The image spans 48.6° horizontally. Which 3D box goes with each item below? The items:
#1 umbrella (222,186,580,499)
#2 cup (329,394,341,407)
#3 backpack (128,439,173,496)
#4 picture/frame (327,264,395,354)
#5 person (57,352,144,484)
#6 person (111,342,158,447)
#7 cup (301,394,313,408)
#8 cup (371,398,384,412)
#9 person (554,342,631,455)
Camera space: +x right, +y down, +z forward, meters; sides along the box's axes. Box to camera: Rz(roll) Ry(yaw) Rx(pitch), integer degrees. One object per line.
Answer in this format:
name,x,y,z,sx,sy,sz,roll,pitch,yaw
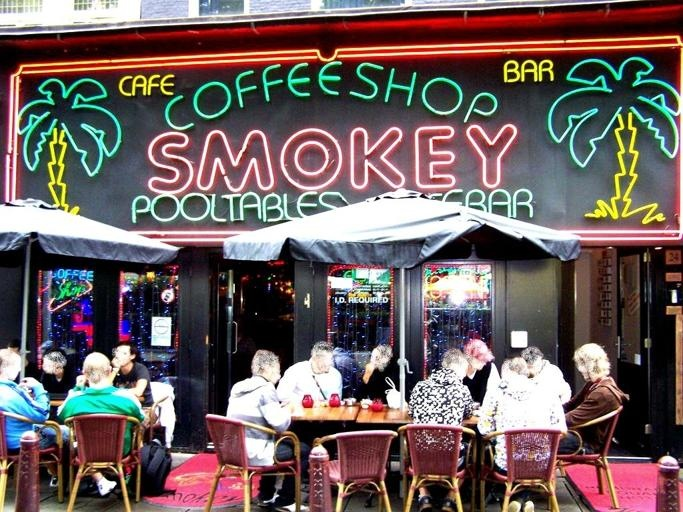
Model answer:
umbrella,0.852,1.039,9.440,3.506,2.347,3.651,1,3,4
cup,-0.083,1.781,9.386,0.142,0.144,0.143,3,-7,0
backpack,-2.252,2.562,9.134,0.428,0.642,0.605,6,-25,0
picture/frame,0.302,0.768,10.872,1.191,1.733,0.024,-1,1,1
person,-2.850,2.026,8.898,0.974,1.801,0.898,1,6,0
person,-2.866,1.794,10.036,0.507,1.332,0.704,5,14,3
cup,-0.421,1.792,9.346,0.130,0.133,0.133,-1,-10,0
cup,0.439,1.828,9.283,0.118,0.124,0.123,0,-14,0
person,2.871,1.638,9.108,0.937,1.239,0.844,2,9,3
